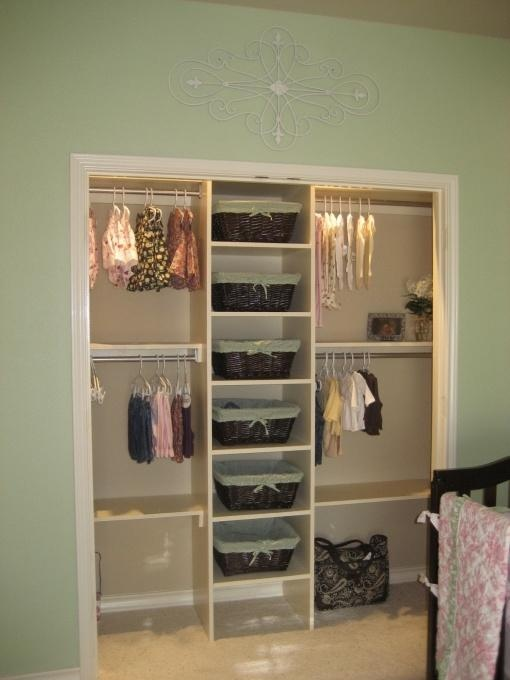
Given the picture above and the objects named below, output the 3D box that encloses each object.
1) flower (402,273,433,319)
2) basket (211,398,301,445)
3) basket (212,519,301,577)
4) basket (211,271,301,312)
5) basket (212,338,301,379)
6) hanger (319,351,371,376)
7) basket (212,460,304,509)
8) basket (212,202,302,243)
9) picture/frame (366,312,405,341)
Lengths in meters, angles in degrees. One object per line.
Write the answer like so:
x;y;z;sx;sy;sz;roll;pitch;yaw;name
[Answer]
0.910;-0.256;3.567;0.224;0.265;0.208;-6;7;11;flower
0.005;0.405;3.100;0.434;0.192;0.417;0;1;-5;basket
0.008;0.994;3.040;0.311;0.136;0.222;0;0;-15;basket
0.000;-0.207;2.953;0.284;0.132;0.216;-1;3;-19;basket
0.000;0.060;2.986;0.295;0.151;0.220;-1;2;-16;basket
0.498;0.133;3.428;0.324;0.134;0.316;0;1;-1;hanger
0.006;0.705;3.013;0.298;0.136;0.241;0;-3;-12;basket
0.000;-0.553;2.938;0.298;0.132;0.234;-2;5;-16;basket
0.742;-0.079;3.571;0.147;0.124;0.014;2;-5;-8;picture/frame
